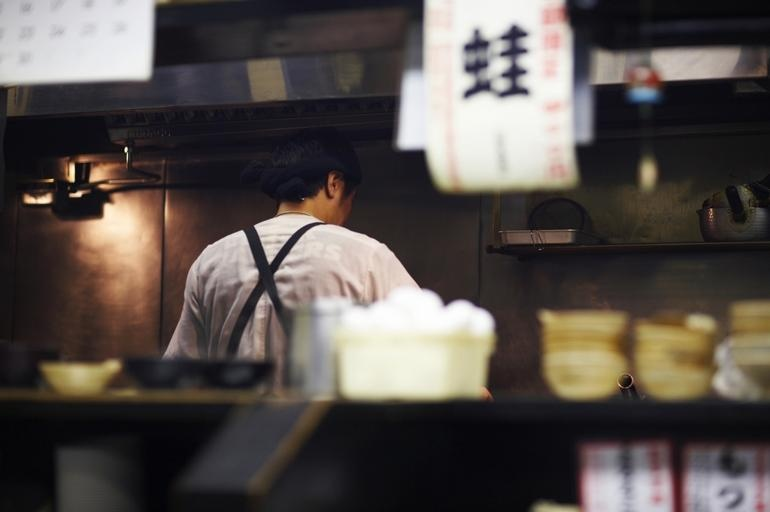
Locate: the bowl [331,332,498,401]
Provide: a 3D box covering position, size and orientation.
[{"bbox_3d":[0.082,0.305,3.197,0.310,0.126,0.210,0,-8,3],"label":"bowl"}]

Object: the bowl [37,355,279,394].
[{"bbox_3d":[-0.646,0.329,3.370,0.678,0.112,0.142,-4,14,7],"label":"bowl"}]

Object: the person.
[{"bbox_3d":[-0.283,0.040,3.866,0.886,0.909,0.449,2,-8,8],"label":"person"}]

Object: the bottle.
[{"bbox_3d":[-0.182,0.260,3.227,0.180,0.266,0.072,-6,13,-4],"label":"bottle"}]
